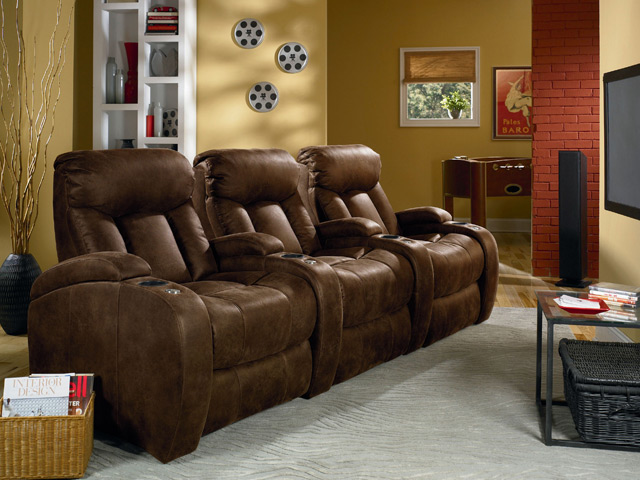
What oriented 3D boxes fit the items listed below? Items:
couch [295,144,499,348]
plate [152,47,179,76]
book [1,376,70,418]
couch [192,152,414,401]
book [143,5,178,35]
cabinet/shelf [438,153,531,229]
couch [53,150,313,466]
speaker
[{"bbox_3d":[0.591,-0.088,4.335,1.739,1.418,1.314,3,7,41],"label":"couch"},{"bbox_3d":[-1.419,-1.628,4.982,0.309,0.272,0.101,5,12,24],"label":"plate"},{"bbox_3d":[-1.070,0.590,2.066,0.218,0.161,0.045,-1,3,-10],"label":"book"},{"bbox_3d":[-0.072,-0.006,3.660,1.586,1.355,1.281,6,9,40],"label":"couch"},{"bbox_3d":[-1.423,-1.956,4.892,0.357,0.263,0.179,0,1,4],"label":"book"},{"bbox_3d":[1.988,-0.624,7.018,1.154,0.718,1.038,-3,5,-19],"label":"cabinet/shelf"},{"bbox_3d":[-0.625,0.143,2.935,1.505,1.315,1.457,3,5,32],"label":"couch"},{"bbox_3d":[2.394,-0.211,5.188,0.341,1.269,0.417,5,12,23],"label":"speaker"}]
